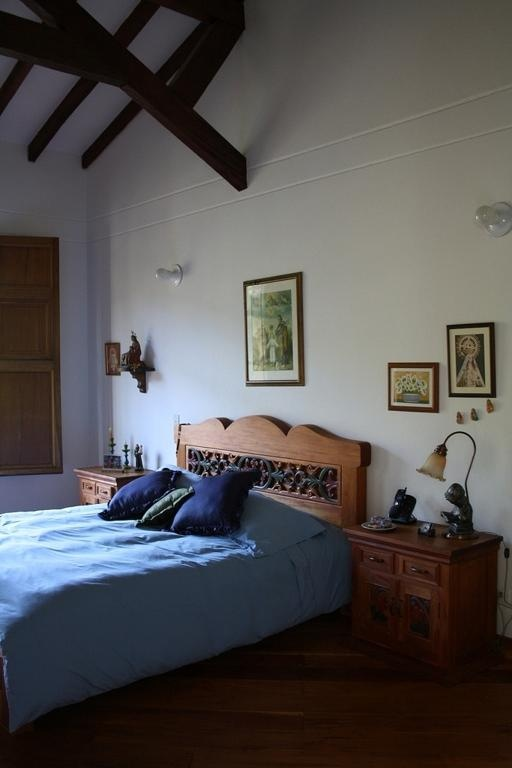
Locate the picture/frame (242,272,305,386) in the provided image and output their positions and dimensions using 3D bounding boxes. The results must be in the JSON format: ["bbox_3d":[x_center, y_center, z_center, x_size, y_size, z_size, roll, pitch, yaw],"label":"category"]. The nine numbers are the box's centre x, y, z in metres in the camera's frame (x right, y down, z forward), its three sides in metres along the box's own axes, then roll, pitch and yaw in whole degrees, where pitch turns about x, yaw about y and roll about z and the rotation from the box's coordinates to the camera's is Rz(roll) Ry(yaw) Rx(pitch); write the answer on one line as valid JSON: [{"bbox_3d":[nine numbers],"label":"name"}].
[{"bbox_3d":[0.122,-0.355,3.749,0.057,0.899,0.706,-2,1,-39],"label":"picture/frame"}]

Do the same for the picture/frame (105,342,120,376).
[{"bbox_3d":[-1.283,-0.244,5.402,0.253,0.368,0.024,7,10,43],"label":"picture/frame"}]

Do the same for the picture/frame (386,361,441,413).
[{"bbox_3d":[0.776,0.006,2.931,0.016,0.249,0.240,0,1,-39],"label":"picture/frame"}]

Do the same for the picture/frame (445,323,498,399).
[{"bbox_3d":[0.962,-0.111,2.670,0.021,0.226,0.312,-4,-4,-23],"label":"picture/frame"}]

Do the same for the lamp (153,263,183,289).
[{"bbox_3d":[-0.695,-0.841,4.630,0.168,0.170,0.302,0,-2,-32],"label":"lamp"}]

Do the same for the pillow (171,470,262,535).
[{"bbox_3d":[-0.226,0.618,3.197,0.411,0.308,0.306,-2,-2,25],"label":"pillow"}]

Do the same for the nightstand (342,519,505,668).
[{"bbox_3d":[0.759,0.906,2.715,0.419,0.525,0.617,0,-2,-33],"label":"nightstand"}]
